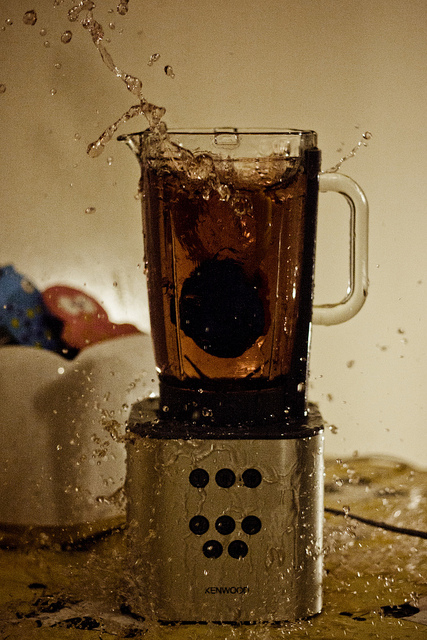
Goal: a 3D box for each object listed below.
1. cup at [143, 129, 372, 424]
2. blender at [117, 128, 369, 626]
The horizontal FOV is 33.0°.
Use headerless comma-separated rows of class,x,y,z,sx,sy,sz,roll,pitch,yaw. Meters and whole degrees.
cup,0.028,-0.047,0.754,0.190,0.260,0.219,-5,41,-4
blender,0.017,0.065,0.757,0.214,0.436,0.368,3,41,5
